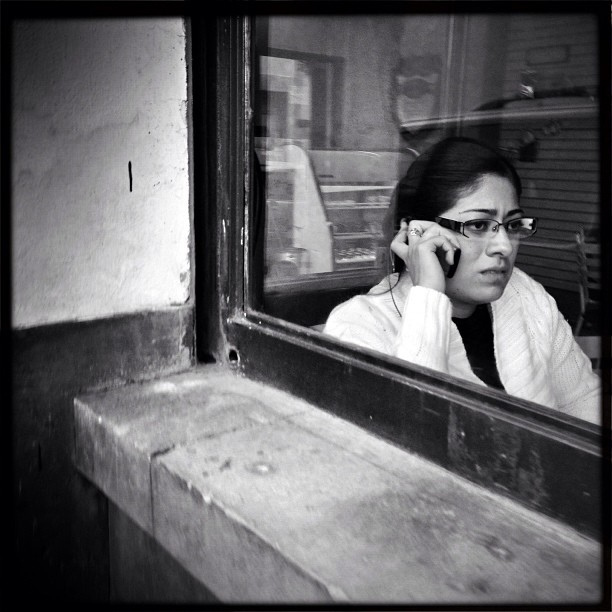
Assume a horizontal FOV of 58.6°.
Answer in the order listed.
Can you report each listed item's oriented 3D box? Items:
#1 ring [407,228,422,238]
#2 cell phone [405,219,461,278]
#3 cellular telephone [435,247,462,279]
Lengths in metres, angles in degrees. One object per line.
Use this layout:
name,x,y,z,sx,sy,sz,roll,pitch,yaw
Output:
ring,0.215,-0.145,1.075,0.031,0.017,0.011,10,16,40
cell phone,0.243,-0.115,1.036,0.112,0.044,0.140,26,-13,43
cellular telephone,0.270,-0.087,1.037,0.016,0.066,0.040,-6,20,-40
